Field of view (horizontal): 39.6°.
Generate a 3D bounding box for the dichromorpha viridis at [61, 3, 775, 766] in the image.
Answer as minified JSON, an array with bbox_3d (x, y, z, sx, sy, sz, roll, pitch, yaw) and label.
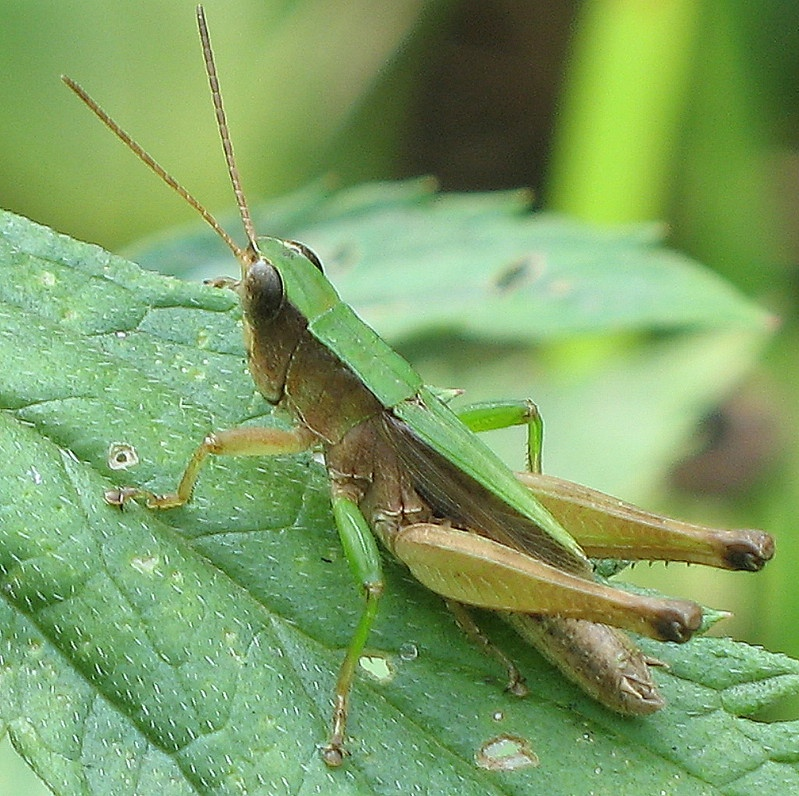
[{"bbox_3d":[-0.103,0.123,2.648,1.828,0.914,1.038,44,48,8],"label":"dichromorpha viridis"}]
